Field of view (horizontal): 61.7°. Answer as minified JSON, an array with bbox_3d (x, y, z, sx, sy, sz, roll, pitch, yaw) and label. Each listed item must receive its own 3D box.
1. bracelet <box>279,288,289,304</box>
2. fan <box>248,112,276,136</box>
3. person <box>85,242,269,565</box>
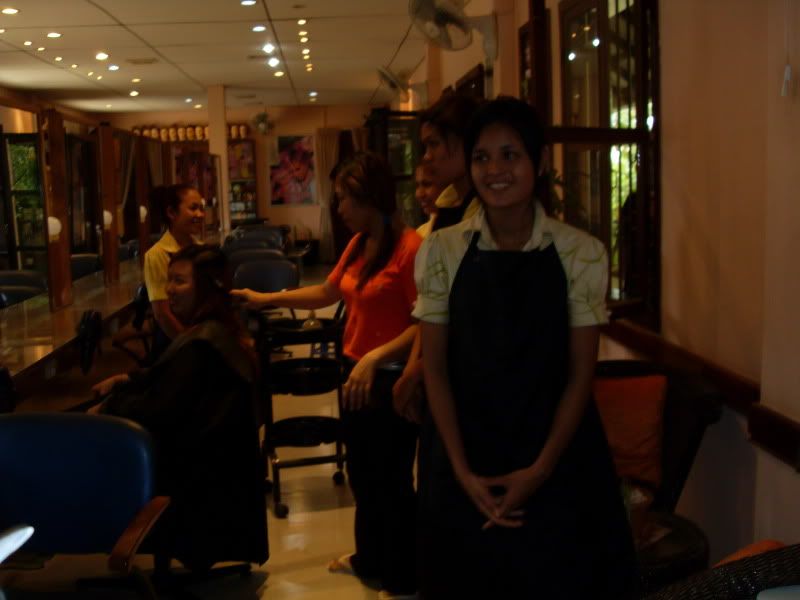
[{"bbox_3d":[-0.549,-0.023,3.248,0.040,0.081,0.098,3,1,-3],"label":"bracelet"},{"bbox_3d":[-2.964,-3.809,14.572,0.409,0.515,0.451,-15,-7,5],"label":"fan"},{"bbox_3d":[-0.899,0.472,2.890,0.690,1.343,0.670,2,-2,14],"label":"person"}]
